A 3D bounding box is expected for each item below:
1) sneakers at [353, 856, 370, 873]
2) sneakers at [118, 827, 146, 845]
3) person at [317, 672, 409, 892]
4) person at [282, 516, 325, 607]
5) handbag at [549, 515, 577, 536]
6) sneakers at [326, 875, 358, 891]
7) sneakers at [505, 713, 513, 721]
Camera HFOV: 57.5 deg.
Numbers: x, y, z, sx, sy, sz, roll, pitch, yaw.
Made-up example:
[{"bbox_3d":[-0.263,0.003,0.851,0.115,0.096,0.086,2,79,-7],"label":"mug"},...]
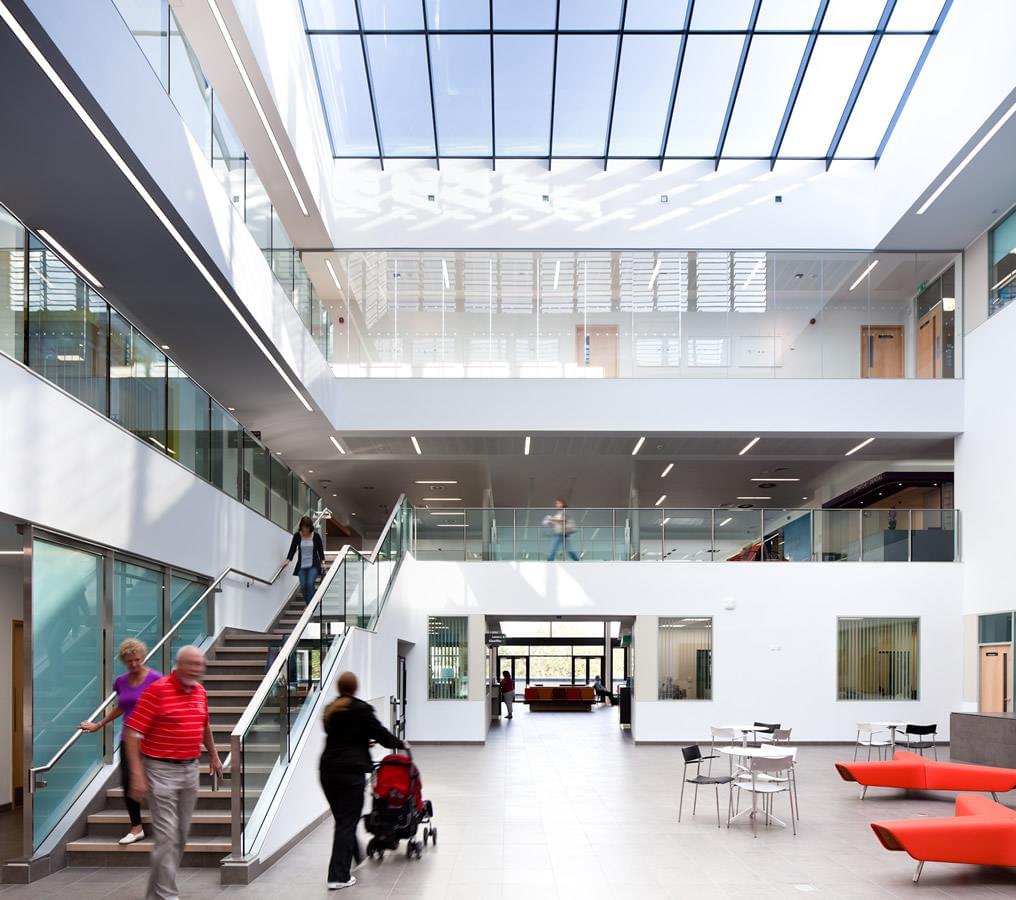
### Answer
[{"bbox_3d":[-1.254,3.529,7.862,0.091,0.169,0.166,2,4,0],"label":"sneakers"},{"bbox_3d":[-3.241,3.329,7.977,0.086,0.089,0.210,-4,-7,3],"label":"sneakers"},{"bbox_3d":[-1.214,2.592,7.279,0.535,1.617,0.330,4,-14,-10],"label":"person"},{"bbox_3d":[-3.120,1.733,14.135,0.605,1.445,0.424,-4,17,-20],"label":"person"},{"bbox_3d":[1.124,1.551,19.100,0.402,0.411,0.354,1,-1,8],"label":"handbag"},{"bbox_3d":[-1.295,3.373,7.220,0.076,0.104,0.236,1,1,42],"label":"sneakers"},{"bbox_3d":[0.045,7.497,25.847,0.161,0.224,0.374,-1,2,1],"label":"sneakers"}]
